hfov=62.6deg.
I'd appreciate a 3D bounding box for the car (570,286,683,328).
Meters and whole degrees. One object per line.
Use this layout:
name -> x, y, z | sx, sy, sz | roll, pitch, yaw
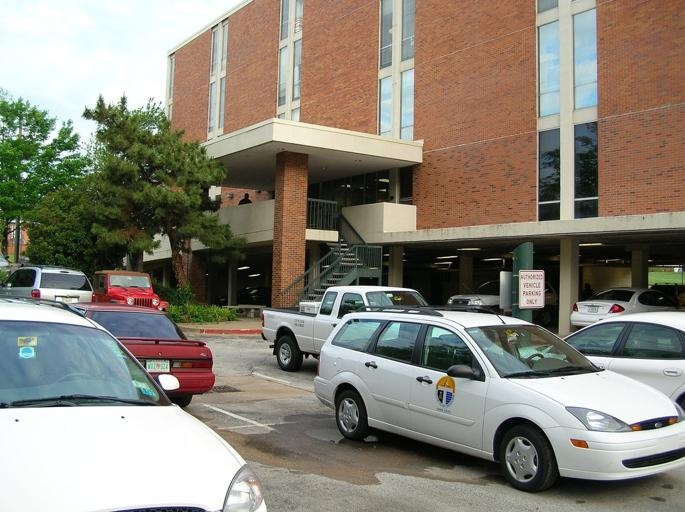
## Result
car -> 9.449, 1.520, 18.668 | 3.837, 1.058, 1.641 | -3, 2, -36
